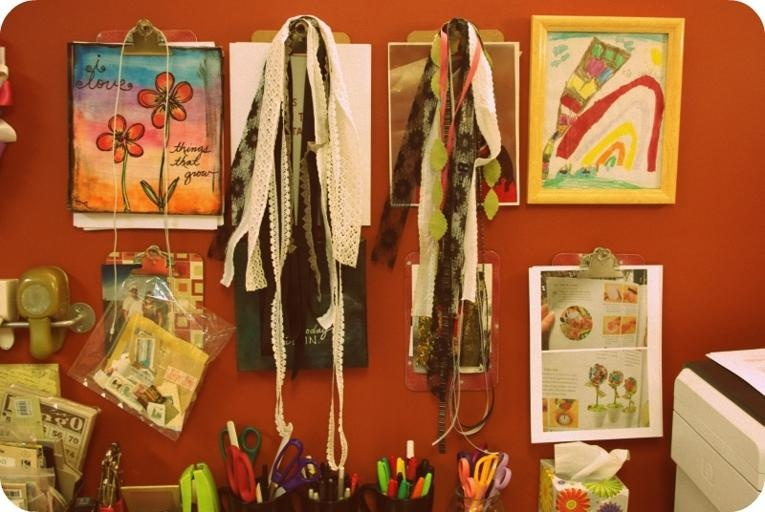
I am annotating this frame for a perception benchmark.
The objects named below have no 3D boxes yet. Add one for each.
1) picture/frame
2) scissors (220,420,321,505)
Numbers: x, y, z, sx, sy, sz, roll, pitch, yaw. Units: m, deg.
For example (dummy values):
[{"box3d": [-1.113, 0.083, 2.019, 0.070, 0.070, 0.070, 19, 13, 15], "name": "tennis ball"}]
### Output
[{"box3d": [0.594, -0.420, 2.049, 0.475, 0.599, 0.040, 1, 5, -2], "name": "picture/frame"}, {"box3d": [-0.312, 0.577, 2.000, 0.198, 0.243, 0.086, 15, -19, 7], "name": "scissors"}]
